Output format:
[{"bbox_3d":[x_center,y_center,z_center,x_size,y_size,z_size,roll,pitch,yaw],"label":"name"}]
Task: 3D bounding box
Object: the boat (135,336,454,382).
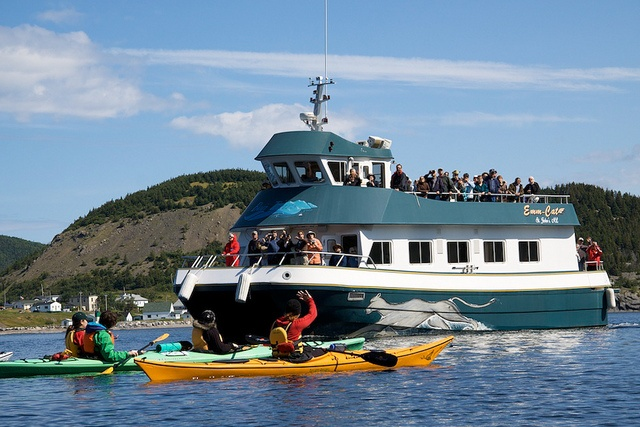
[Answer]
[{"bbox_3d":[-1.104,5.980,37.420,15.370,1.568,3.923,4,-10,-28],"label":"boat"}]
